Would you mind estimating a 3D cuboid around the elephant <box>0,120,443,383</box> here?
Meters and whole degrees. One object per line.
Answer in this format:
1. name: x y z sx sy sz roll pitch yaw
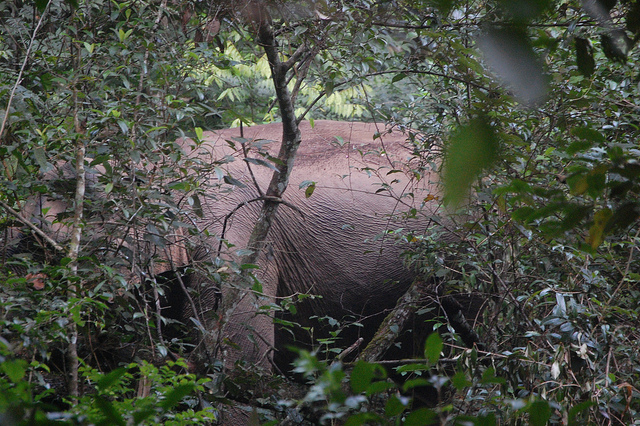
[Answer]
1. elephant: -0.243 0.257 4.036 2.244 1.539 1.152 -6 1 -39
